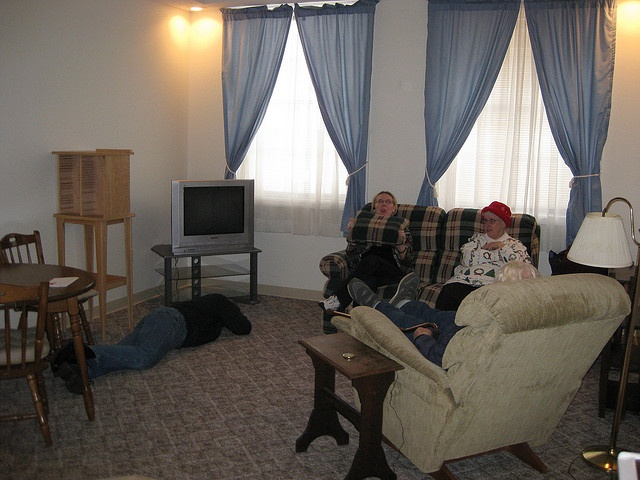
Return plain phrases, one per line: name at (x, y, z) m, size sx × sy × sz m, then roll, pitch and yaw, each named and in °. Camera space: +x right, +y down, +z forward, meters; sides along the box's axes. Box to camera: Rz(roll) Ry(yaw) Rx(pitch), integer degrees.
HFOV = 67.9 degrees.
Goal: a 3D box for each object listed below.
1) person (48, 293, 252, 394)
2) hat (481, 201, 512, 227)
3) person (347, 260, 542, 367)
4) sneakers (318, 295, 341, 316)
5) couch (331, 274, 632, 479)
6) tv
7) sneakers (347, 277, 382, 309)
person at (-1.266, 0.672, 3.683) m, size 0.501 × 0.364 × 1.270 m, roll 26°, pitch 27°, yaw 35°
hat at (1.552, -0.252, 4.144) m, size 0.173 × 0.122 × 0.240 m, roll 4°, pitch -24°, yaw 39°
person at (0.681, 0.332, 2.947) m, size 0.555 × 0.703 × 1.223 m, roll -7°, pitch 16°, yaw -32°
sneakers at (0.070, 0.559, 4.155) m, size 0.171 × 0.148 × 0.063 m, roll -18°, pitch 16°, yaw -24°
couch at (0.832, 0.540, 2.779) m, size 1.053 × 1.023 × 1.191 m, roll -4°, pitch 11°, yaw -27°
tv at (-1.222, -0.296, 5.272) m, size 0.871 × 0.755 × 0.489 m, roll -4°, pitch 11°, yaw -29°
sneakers at (0.339, 0.421, 3.804) m, size 0.358 × 0.134 × 0.142 m, roll 41°, pitch -20°, yaw -3°
